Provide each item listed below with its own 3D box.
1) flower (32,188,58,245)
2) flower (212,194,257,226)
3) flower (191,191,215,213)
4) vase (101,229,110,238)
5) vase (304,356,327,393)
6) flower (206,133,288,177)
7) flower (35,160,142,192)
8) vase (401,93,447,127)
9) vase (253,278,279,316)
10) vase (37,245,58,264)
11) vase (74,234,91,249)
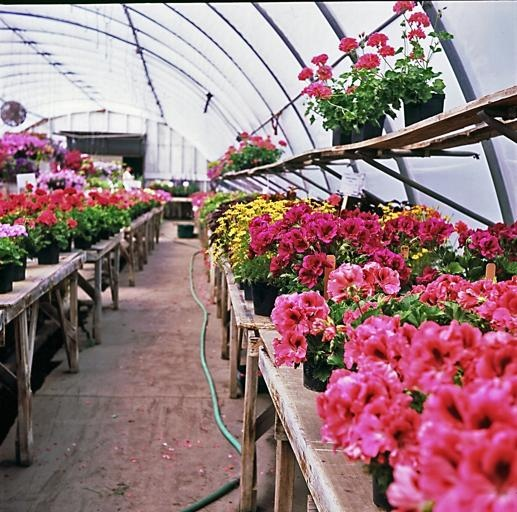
[{"bbox_3d":[-1.488,-0.279,3.800,0.140,0.409,0.755,-2,3,-21],"label":"flower"},{"bbox_3d":[-0.319,-0.601,6.383,0.616,0.274,0.625,-9,7,-22],"label":"flower"},{"bbox_3d":[-1.418,-1.448,13.849,0.690,0.500,0.800,0,2,-18],"label":"flower"},{"bbox_3d":[-1.604,-0.223,5.681,0.079,0.064,0.082,-4,15,-30],"label":"vase"},{"bbox_3d":[0.163,0.361,1.584,0.075,0.084,0.086,0,-2,4],"label":"vase"},{"bbox_3d":[-0.413,-1.965,10.296,0.668,0.972,2.554,-5,4,-27],"label":"flower"},{"bbox_3d":[-1.928,-1.005,6.769,1.327,0.474,1.028,-4,10,-28],"label":"flower"},{"bbox_3d":[1.052,-0.997,3.590,0.194,0.206,0.176,-14,19,-25],"label":"vase"},{"bbox_3d":[0.025,0.218,2.672,0.148,0.163,0.164,2,0,5],"label":"vase"},{"bbox_3d":[-1.434,0.000,3.722,0.123,0.151,0.151,-1,6,-9],"label":"vase"},{"bbox_3d":[-1.508,-0.109,4.649,0.127,0.124,0.113,6,17,5],"label":"vase"}]
